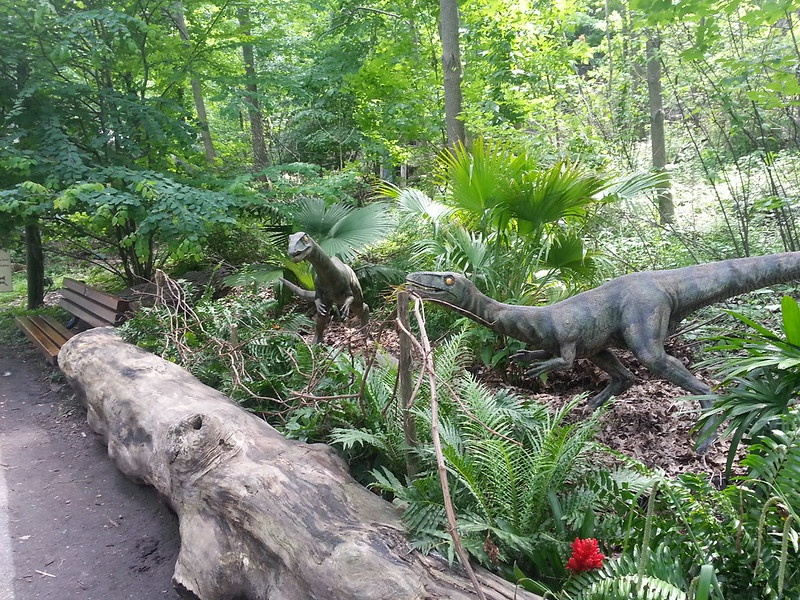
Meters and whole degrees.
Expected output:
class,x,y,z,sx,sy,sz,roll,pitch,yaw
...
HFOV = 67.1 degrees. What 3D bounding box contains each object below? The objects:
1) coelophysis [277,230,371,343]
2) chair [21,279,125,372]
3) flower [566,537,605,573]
class,x,y,z,sx,sy,sz,roll,pitch,yaw
coelophysis,-0.879,-0.044,6.468,1.172,0.929,1.608,2,-11,7
chair,-4.756,0.241,8.635,1.005,0.919,2.806,-9,9,-37
flower,1.192,1.647,3.882,0.235,0.244,0.161,-7,9,-27
